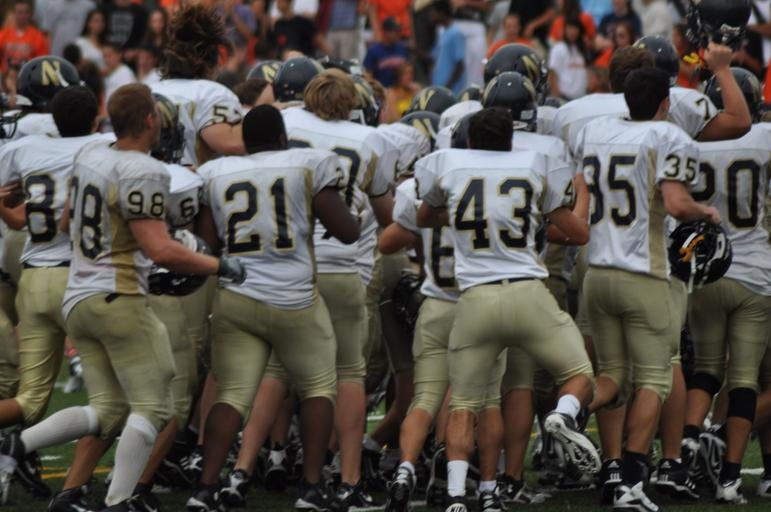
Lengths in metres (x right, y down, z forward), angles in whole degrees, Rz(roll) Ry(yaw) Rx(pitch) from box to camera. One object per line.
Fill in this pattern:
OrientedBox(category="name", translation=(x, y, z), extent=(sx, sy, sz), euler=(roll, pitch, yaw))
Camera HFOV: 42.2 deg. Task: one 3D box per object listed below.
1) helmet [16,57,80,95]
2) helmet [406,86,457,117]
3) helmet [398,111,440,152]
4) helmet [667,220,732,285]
OrientedBox(category="helmet", translation=(-2.448, -1.279, 7.185), extent=(0.374, 0.313, 0.273), euler=(3, -13, -5))
OrientedBox(category="helmet", translation=(0.390, -1.277, 8.288), extent=(0.315, 0.300, 0.247), euler=(24, -1, 20))
OrientedBox(category="helmet", translation=(0.301, -0.981, 7.742), extent=(0.323, 0.331, 0.251), euler=(1, 9, -38))
OrientedBox(category="helmet", translation=(2.104, -0.042, 6.740), extent=(0.333, 0.474, 0.406), euler=(19, 23, 29))
